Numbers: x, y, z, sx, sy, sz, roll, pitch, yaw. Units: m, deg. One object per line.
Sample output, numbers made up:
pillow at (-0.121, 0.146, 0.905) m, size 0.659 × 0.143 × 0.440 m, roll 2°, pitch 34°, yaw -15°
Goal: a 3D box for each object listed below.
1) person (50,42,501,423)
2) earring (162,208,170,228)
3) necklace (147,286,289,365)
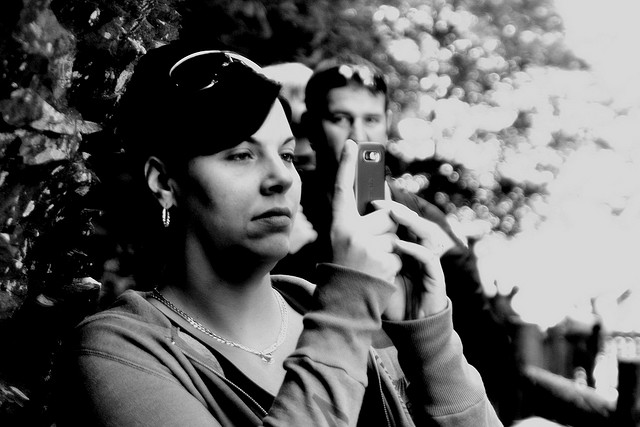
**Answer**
person at (-0.223, 0.087, 2.717) m, size 1.445 × 1.419 × 0.631 m, roll -2°, pitch 1°, yaw -13°
earring at (-0.549, 0.019, 2.686) m, size 0.026 × 0.064 × 0.018 m, roll -2°, pitch 1°, yaw -2°
necklace at (-0.338, 0.387, 2.793) m, size 0.387 × 0.303 × 0.059 m, roll 30°, pitch 42°, yaw -4°
